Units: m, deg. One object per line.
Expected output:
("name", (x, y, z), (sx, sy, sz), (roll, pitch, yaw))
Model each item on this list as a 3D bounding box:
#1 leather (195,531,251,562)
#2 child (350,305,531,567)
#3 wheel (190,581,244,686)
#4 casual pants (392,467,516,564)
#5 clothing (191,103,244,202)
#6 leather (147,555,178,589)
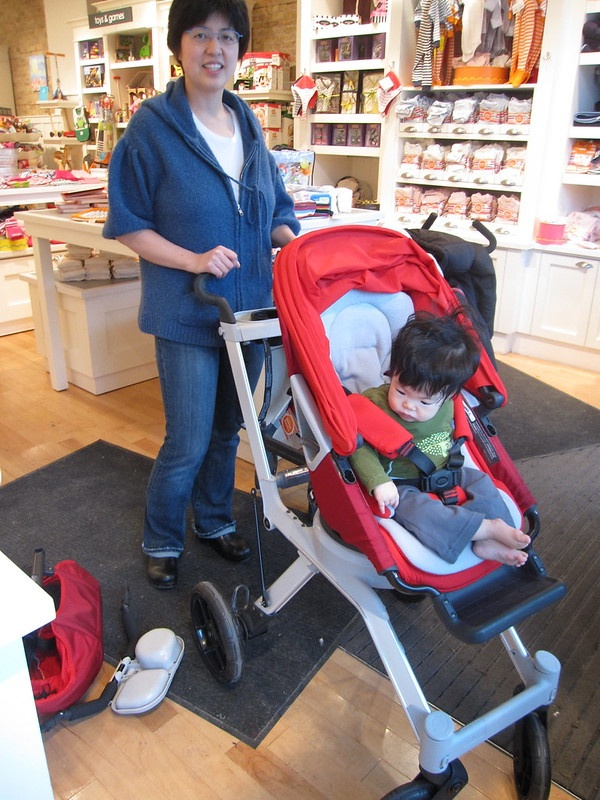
("leather", (-0.251, 0.451, 1.892), (0.181, 0.071, 0.067), (13, 23, 32))
("child", (0.290, 0.069, 1.138), (0.240, 0.380, 0.395), (-6, 18, -18))
("wheel", (-0.200, 0.562, 1.378), (0.054, 0.219, 0.231), (-13, 17, -33))
("casual pants", (0.304, 0.213, 1.151), (0.248, 0.074, 0.186), (-13, 27, -32))
("clothing", (-0.215, -0.635, 1.489), (0.112, 0.194, 0.050), (-23, 7, -38))
("leather", (-0.409, 0.510, 1.727), (0.053, 0.053, 0.130), (1, 7, -27))
